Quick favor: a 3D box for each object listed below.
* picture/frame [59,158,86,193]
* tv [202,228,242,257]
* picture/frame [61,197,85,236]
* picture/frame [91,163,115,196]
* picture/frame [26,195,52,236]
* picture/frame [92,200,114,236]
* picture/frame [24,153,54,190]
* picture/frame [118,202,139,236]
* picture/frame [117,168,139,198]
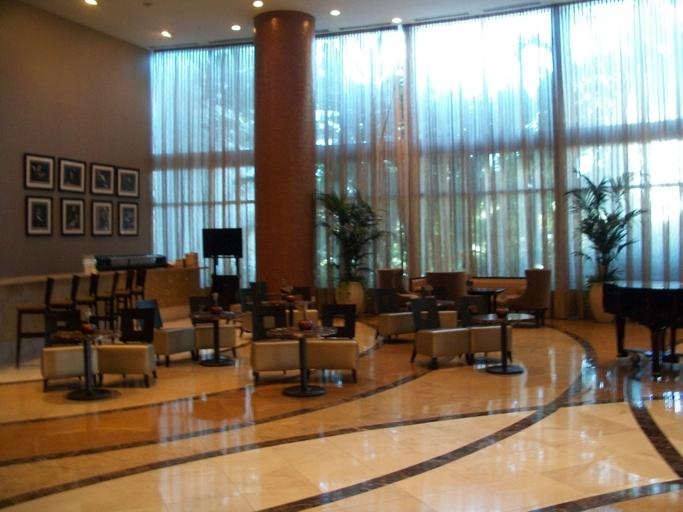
[{"bbox_3d":[-6.074,-1.802,13.253,0.060,0.833,0.834,-2,-1,34],"label":"picture/frame"},{"bbox_3d":[-2.799,-0.312,13.888,0.665,0.489,0.090,0,-4,7],"label":"tv"},{"bbox_3d":[-6.050,-0.879,13.274,0.135,0.832,0.654,4,11,25],"label":"picture/frame"},{"bbox_3d":[-5.656,-1.806,13.910,0.058,0.825,0.823,-2,-2,31],"label":"picture/frame"},{"bbox_3d":[-6.471,-0.860,12.611,0.130,0.824,0.626,4,11,27],"label":"picture/frame"},{"bbox_3d":[-5.658,-0.895,13.902,0.093,0.958,0.849,-2,-2,26],"label":"picture/frame"},{"bbox_3d":[-6.463,-1.795,12.655,0.683,0.689,0.047,9,13,7],"label":"picture/frame"},{"bbox_3d":[-5.282,-0.914,14.579,0.133,0.847,0.663,3,10,23],"label":"picture/frame"},{"bbox_3d":[-5.291,-1.807,14.529,0.053,0.773,0.772,-2,-2,33],"label":"picture/frame"}]
